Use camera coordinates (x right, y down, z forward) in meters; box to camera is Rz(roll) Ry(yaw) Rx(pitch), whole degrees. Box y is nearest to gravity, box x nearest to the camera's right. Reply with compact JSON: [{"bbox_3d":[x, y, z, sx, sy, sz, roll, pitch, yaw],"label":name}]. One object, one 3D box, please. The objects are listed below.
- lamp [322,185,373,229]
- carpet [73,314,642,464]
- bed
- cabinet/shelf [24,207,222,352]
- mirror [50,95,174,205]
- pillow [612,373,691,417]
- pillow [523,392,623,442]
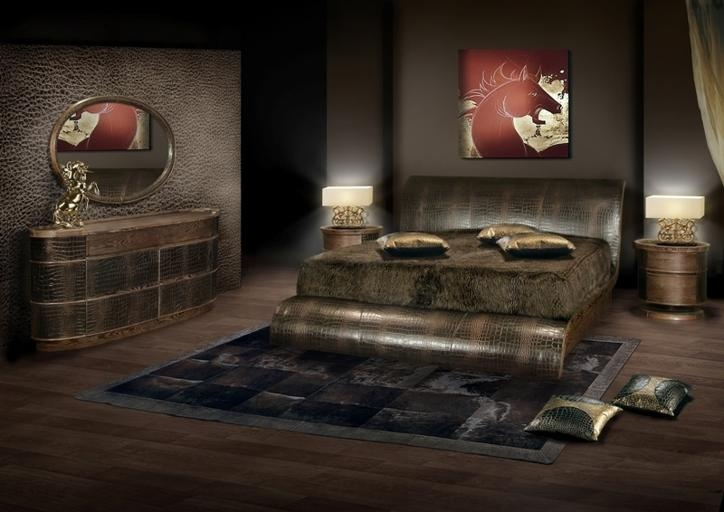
[{"bbox_3d":[-0.114,-0.584,6.201,0.742,0.420,0.699,-1,2,-41],"label":"lamp"},{"bbox_3d":[0.062,0.868,3.509,3.166,0.030,1.582,2,10,17],"label":"carpet"},{"bbox_3d":[0.981,-0.059,4.739,2.488,0.890,2.479,9,26,32],"label":"bed"},{"bbox_3d":[-2.246,0.173,4.884,0.792,0.906,2.268,10,8,10],"label":"cabinet/shelf"},{"bbox_3d":[-2.304,-0.968,4.568,0.134,0.843,1.541,7,7,33],"label":"mirror"},{"bbox_3d":[1.721,0.829,3.105,0.377,0.081,0.357,24,31,24],"label":"pillow"},{"bbox_3d":[1.181,0.897,2.839,0.340,0.140,0.399,7,12,36],"label":"pillow"}]
